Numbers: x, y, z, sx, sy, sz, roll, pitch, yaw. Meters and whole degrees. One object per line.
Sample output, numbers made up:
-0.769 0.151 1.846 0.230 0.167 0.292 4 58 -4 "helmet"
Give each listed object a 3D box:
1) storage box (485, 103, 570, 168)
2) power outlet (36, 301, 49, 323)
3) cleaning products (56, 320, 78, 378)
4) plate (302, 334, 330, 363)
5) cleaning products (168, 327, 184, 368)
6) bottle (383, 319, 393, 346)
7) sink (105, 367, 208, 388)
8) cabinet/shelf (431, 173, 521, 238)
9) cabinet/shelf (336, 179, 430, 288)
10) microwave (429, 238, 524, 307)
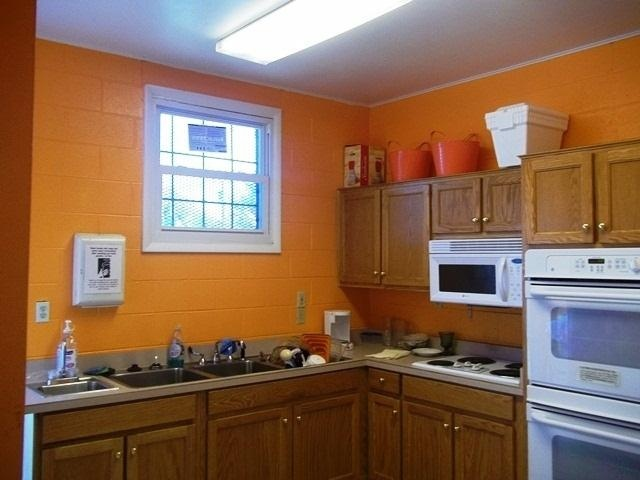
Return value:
1.336 -0.679 3.265 0.401 0.342 0.335 4 0 -27 "storage box"
-1.663 0.431 2.985 0.076 0.085 0.014 -1 -1 -39 "power outlet"
-1.514 0.648 2.972 0.113 0.227 0.196 -2 -1 -26 "cleaning products"
-0.028 0.805 3.699 0.198 0.214 0.170 2 -8 -13 "plate"
-0.977 0.722 3.362 0.110 0.201 0.169 -2 -1 -17 "cleaning products"
0.568 0.768 4.177 0.091 0.206 0.164 -2 -1 9 "bottle"
-1.010 0.877 3.124 0.571 0.096 0.277 -2 -1 -25 "sink"
1.056 -0.244 3.419 0.673 0.407 0.224 -4 7 -4 "cabinet/shelf"
0.405 -0.022 4.029 0.927 0.797 0.353 -1 0 -35 "cabinet/shelf"
1.117 0.223 3.451 0.665 0.453 0.399 0 2 39 "microwave"
